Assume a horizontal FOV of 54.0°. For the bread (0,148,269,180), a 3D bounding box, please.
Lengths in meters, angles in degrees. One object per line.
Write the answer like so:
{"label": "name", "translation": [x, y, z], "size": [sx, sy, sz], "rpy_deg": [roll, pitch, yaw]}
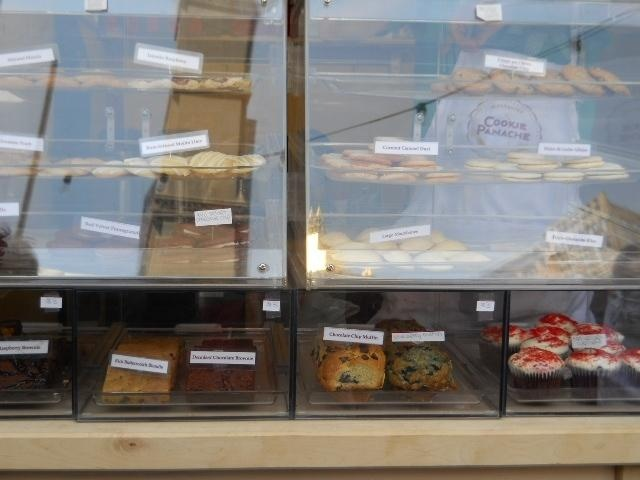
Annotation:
{"label": "bread", "translation": [-0.606, -0.241, 2.057], "size": [0.857, 0.081, 0.073], "rpy_deg": [-1, 15, -3]}

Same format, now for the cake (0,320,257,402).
{"label": "cake", "translation": [-0.576, 0.417, 2.022], "size": [0.686, 0.281, 0.129], "rpy_deg": [1, -31, -2]}

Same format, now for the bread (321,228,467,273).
{"label": "bread", "translation": [0.237, 0.036, 2.068], "size": [0.386, 0.036, 0.176], "rpy_deg": [-1, 36, -6]}
